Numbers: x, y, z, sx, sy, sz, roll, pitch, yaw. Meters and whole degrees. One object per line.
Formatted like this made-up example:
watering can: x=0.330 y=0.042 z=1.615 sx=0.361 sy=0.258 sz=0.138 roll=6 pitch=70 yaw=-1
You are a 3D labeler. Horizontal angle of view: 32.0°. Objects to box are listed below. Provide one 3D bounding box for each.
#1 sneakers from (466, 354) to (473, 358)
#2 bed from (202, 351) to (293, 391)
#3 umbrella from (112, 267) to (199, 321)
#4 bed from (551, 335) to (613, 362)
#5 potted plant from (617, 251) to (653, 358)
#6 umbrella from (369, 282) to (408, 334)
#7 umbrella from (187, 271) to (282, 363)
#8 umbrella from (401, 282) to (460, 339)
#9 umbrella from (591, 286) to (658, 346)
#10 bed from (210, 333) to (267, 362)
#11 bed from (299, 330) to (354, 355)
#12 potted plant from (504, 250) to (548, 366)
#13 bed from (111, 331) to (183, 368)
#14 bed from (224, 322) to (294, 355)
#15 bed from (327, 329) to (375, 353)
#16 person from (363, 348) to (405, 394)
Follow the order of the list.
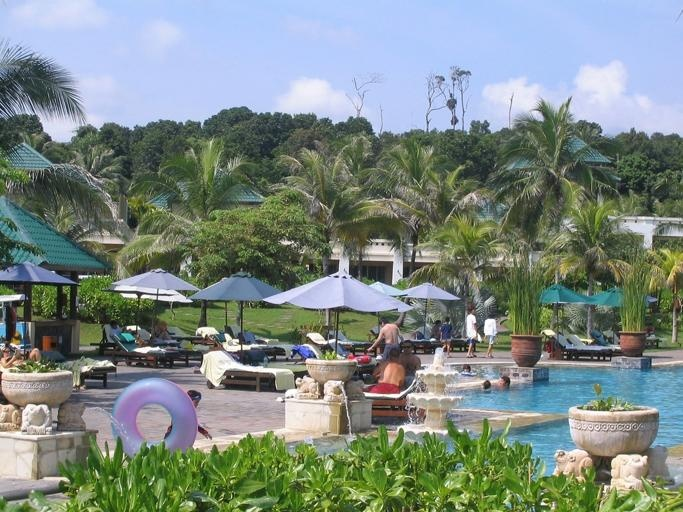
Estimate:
sneakers: x=4.358 y=3.432 z=40.440 sx=0.236 sy=0.201 sz=0.088 roll=-9 pitch=-5 yaw=33
bed: x=-2.551 y=2.937 z=30.829 sx=1.557 sy=0.750 sz=1.256 roll=2 pitch=2 yaw=6
umbrella: x=-5.677 y=0.888 z=37.575 sx=1.688 sy=0.909 sz=1.885 roll=-2 pitch=-7 yaw=18
bed: x=8.235 y=3.237 z=40.475 sx=1.348 sy=0.684 sz=1.126 roll=-2 pitch=0 yaw=29
potted plant: x=9.435 y=1.578 z=38.189 sx=0.934 sy=3.397 sz=2.132 roll=-1 pitch=-3 yaw=14
umbrella: x=1.949 y=1.861 z=42.880 sx=1.466 sy=1.876 sz=1.668 roll=1 pitch=-4 yaw=-4
umbrella: x=-2.913 y=1.797 z=34.149 sx=2.147 sy=2.593 sz=2.404 roll=-2 pitch=-6 yaw=-8
umbrella: x=3.516 y=2.071 z=45.465 sx=1.586 sy=1.418 sz=1.706 roll=1 pitch=-7 yaw=0
umbrella: x=9.933 y=2.009 z=43.066 sx=1.489 sy=1.860 sz=1.698 roll=-2 pitch=11 yaw=-15
bed: x=-2.880 y=2.720 z=33.534 sx=1.422 sy=0.713 sz=0.864 roll=0 pitch=0 yaw=27
bed: x=-0.332 y=2.781 z=37.649 sx=1.350 sy=0.675 sz=0.873 roll=-1 pitch=0 yaw=36
potted plant: x=5.431 y=1.657 z=34.945 sx=0.969 sy=3.262 sz=1.359 roll=-1 pitch=-3 yaw=10
bed: x=-5.868 y=2.934 z=35.517 sx=1.609 sy=0.876 sz=1.065 roll=-2 pitch=-1 yaw=31
bed: x=-2.862 y=2.816 z=37.843 sx=1.510 sy=1.020 sz=1.207 roll=-1 pitch=-3 yaw=25
bed: x=0.339 y=2.916 z=39.582 sx=0.953 sy=0.691 sz=1.405 roll=4 pitch=-9 yaw=-29
person: x=1.161 y=2.644 z=27.043 sx=0.756 sy=1.110 sz=0.753 roll=3 pitch=16 yaw=-36
